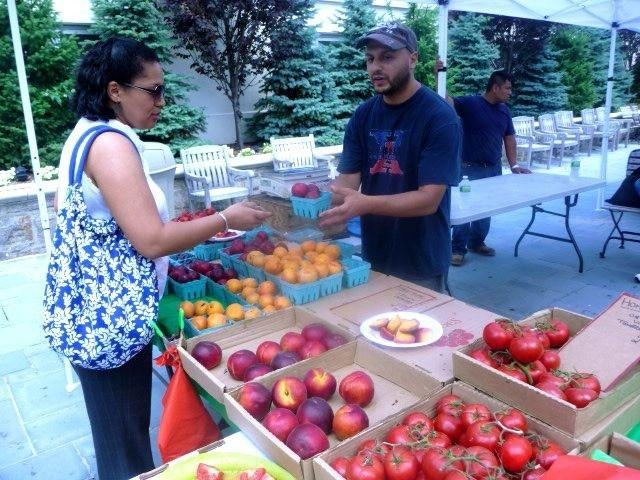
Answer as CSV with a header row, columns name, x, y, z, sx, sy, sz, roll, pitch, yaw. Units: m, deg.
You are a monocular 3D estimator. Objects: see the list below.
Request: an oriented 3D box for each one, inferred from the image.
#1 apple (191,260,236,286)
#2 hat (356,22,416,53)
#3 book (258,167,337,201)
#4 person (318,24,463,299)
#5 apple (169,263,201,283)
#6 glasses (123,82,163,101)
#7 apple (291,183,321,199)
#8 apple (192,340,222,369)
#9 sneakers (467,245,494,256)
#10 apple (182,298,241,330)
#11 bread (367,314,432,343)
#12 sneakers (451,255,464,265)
name,x,y,z,sx,sy,sz,roll,pitch,yaw
apple,-0.699,0.197,2.925,0.256,0.084,0.154,18,25,40
hat,0.411,-1.242,2.719,0.297,0.155,0.213,11,12,-36
book,-0.217,-0.401,2.888,0.317,0.120,0.280,-13,22,-32
person,0.478,-0.389,2.902,0.847,1.914,0.809,-1,19,16
apple,-0.904,0.213,2.896,0.107,0.065,0.187,-4,14,-42
glasses,-0.784,-0.663,1.990,0.101,0.036,0.078,14,19,5
apple,-0.085,-0.298,2.646,0.161,0.082,0.099,4,27,9
apple,-0.527,0.543,2.133,0.125,0.119,0.135,11,-6,43
sneakers,2.427,0.142,6.633,0.287,0.122,0.138,8,23,39
apple,-0.610,0.410,2.473,0.201,0.066,0.197,-7,14,-29
bread,0.379,0.425,2.149,0.221,0.086,0.253,-15,20,-28
sneakers,1.948,0.279,6.295,0.185,0.131,0.337,2,10,25
